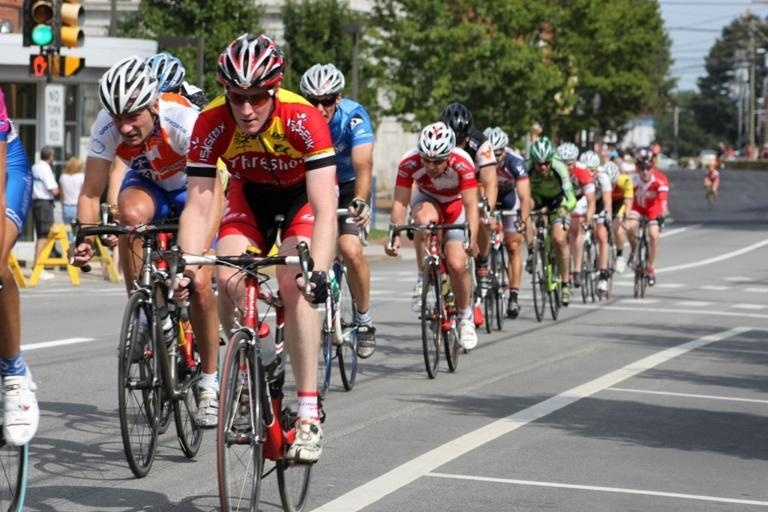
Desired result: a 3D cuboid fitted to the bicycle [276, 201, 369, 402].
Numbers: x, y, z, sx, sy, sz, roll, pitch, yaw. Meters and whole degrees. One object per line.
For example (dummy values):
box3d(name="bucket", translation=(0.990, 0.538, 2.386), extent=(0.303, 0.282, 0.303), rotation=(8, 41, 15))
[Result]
box3d(name="bicycle", translation=(-0.502, 0.457, 12.732), extent=(0.683, 1.435, 2.310), rotation=(-4, -23, -7))

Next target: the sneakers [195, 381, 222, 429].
box3d(name="sneakers", translation=(-1.537, 1.247, 10.477), extent=(0.151, 0.273, 0.462), rotation=(0, 20, -5))

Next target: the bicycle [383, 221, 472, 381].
box3d(name="bicycle", translation=(0.596, 0.516, 13.537), extent=(0.368, 1.614, 1.222), rotation=(0, 2, 20))

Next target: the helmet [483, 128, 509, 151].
box3d(name="helmet", translation=(1.453, -1.507, 16.001), extent=(0.282, 0.144, 0.378), rotation=(14, 23, 2))

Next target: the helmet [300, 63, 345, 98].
box3d(name="helmet", translation=(-0.625, -1.827, 12.630), extent=(0.129, 0.314, 0.415), rotation=(38, 3, -26))

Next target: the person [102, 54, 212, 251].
box3d(name="person", translation=(-2.159, -1.110, 12.438), extent=(1.279, 1.759, 0.619), rotation=(4, 3, 31))

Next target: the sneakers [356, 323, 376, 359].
box3d(name="sneakers", translation=(-0.209, 0.913, 13.213), extent=(0.178, 0.370, 0.164), rotation=(-1, 8, 6))

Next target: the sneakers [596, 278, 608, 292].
box3d(name="sneakers", translation=(3.451, 0.471, 19.443), extent=(0.179, 0.192, 0.182), rotation=(-1, 2, 34))

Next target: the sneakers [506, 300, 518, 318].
box3d(name="sneakers", translation=(1.754, 0.729, 16.817), extent=(0.156, 0.232, 0.255), rotation=(-1, 2, 9))

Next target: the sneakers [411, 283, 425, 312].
box3d(name="sneakers", translation=(0.408, 0.455, 13.583), extent=(0.109, 0.288, 0.171), rotation=(5, 0, -16))

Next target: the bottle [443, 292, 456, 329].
box3d(name="bottle", translation=(0.727, 0.628, 13.723), extent=(0.185, 0.220, 0.369), rotation=(-2, 6, 6))

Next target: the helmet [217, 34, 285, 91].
box3d(name="helmet", translation=(-1.086, -1.564, 9.693), extent=(0.478, 0.311, 0.649), rotation=(5, 28, -4))

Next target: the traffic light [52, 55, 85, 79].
box3d(name="traffic light", translation=(-4.554, -2.754, 17.727), extent=(0.372, 0.245, 0.364), rotation=(7, 7, 42))

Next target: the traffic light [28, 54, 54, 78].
box3d(name="traffic light", translation=(-4.946, -2.768, 17.693), extent=(0.341, 0.286, 0.282), rotation=(-1, 2, -10))

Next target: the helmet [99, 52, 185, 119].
box3d(name="helmet", translation=(-2.178, -1.490, 10.653), extent=(0.409, 0.276, 0.541), rotation=(2, 42, 11))

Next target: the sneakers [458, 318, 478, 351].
box3d(name="sneakers", translation=(0.942, 0.927, 14.095), extent=(0.202, 0.381, 0.171), rotation=(-14, 2, 15))

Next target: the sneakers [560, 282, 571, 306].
box3d(name="sneakers", translation=(2.614, 0.548, 17.811), extent=(0.133, 0.379, 0.182), rotation=(-4, 2, 4))

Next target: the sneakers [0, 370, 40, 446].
box3d(name="sneakers", translation=(-2.769, 1.176, 9.405), extent=(0.213, 0.593, 0.257), rotation=(-6, -5, -12))
